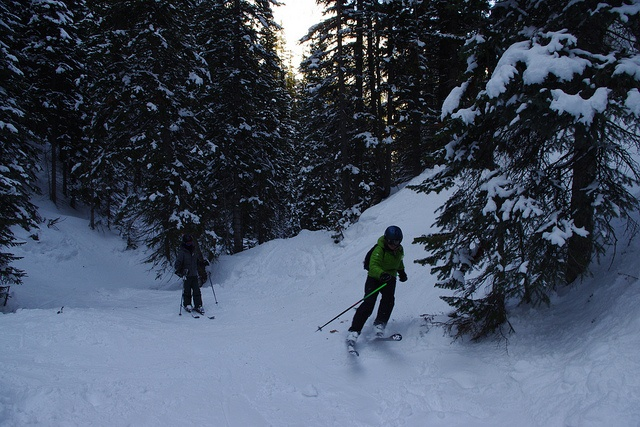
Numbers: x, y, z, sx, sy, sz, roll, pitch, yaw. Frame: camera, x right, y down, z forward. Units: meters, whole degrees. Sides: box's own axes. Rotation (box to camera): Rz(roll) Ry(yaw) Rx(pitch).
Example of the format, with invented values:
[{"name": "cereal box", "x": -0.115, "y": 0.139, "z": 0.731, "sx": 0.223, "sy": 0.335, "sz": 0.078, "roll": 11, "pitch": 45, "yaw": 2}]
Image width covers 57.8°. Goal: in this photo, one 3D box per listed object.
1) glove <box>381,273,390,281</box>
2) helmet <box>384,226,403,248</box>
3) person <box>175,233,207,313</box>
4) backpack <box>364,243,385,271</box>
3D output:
[{"name": "glove", "x": 1.915, "y": 1.845, "z": 16.946, "sx": 0.270, "sy": 0.236, "sz": 0.258, "roll": -2, "pitch": 5, "yaw": 8}, {"name": "helmet", "x": 2.162, "y": 0.680, "z": 17.172, "sx": 0.472, "sy": 0.593, "sz": 0.599, "roll": 3, "pitch": 6, "yaw": -4}, {"name": "person", "x": -4.638, "y": 2.129, "z": 20.479, "sx": 0.908, "sy": 2.664, "sz": 1.062, "roll": -4, "pitch": 6, "yaw": -16}, {"name": "backpack", "x": 1.651, "y": 1.356, "z": 17.725, "sx": 0.627, "sy": 0.716, "sz": 0.484, "roll": 2, "pitch": -3, "yaw": 4}]
